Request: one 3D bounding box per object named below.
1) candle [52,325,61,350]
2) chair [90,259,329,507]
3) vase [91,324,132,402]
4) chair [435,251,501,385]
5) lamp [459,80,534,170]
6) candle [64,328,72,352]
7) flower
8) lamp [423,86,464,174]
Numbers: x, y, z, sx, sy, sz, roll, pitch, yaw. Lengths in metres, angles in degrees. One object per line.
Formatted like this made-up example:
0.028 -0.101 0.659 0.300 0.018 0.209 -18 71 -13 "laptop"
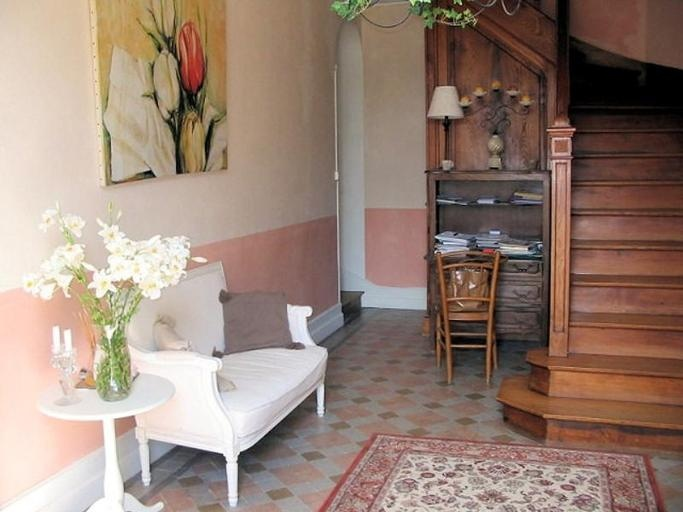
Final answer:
-1.389 0.399 2.611 0.036 0.126 0.091 -7 11 -26 "candle"
-0.825 0.406 3.841 1.262 1.501 2.130 2 9 15 "chair"
-1.141 0.516 2.669 0.180 0.366 0.217 -7 11 -24 "vase"
1.271 0.496 5.268 0.661 1.197 1.281 0 10 11 "chair"
1.770 -1.484 5.957 1.125 1.153 0.304 0 7 18 "lamp"
-1.358 0.409 2.659 0.036 0.104 0.143 -8 11 -29 "candle"
-1.160 0.216 3.023 1.019 1.114 0.972 -1 -3 -10 "flower"
1.150 -1.394 5.900 0.371 0.915 0.420 0 11 10 "lamp"
